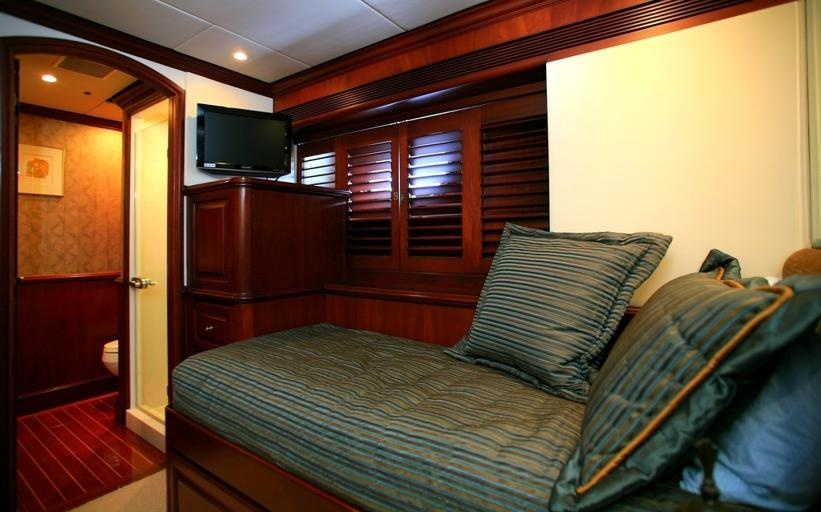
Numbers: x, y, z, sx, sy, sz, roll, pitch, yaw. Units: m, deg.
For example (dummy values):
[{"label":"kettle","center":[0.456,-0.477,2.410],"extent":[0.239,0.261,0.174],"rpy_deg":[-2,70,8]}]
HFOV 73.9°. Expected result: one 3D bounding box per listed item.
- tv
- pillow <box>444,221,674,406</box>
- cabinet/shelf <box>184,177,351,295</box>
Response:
[{"label":"tv","center":[-1.351,-0.929,4.398],"extent":[0.743,0.492,0.067],"rpy_deg":[-2,9,-36]},{"label":"pillow","center":[0.778,0.267,3.216],"extent":[0.594,0.876,1.029],"rpy_deg":[-2,9,-45]},{"label":"cabinet/shelf","center":[-1.149,-0.108,4.490],"extent":[0.748,0.822,1.250],"rpy_deg":[1,2,31]}]
